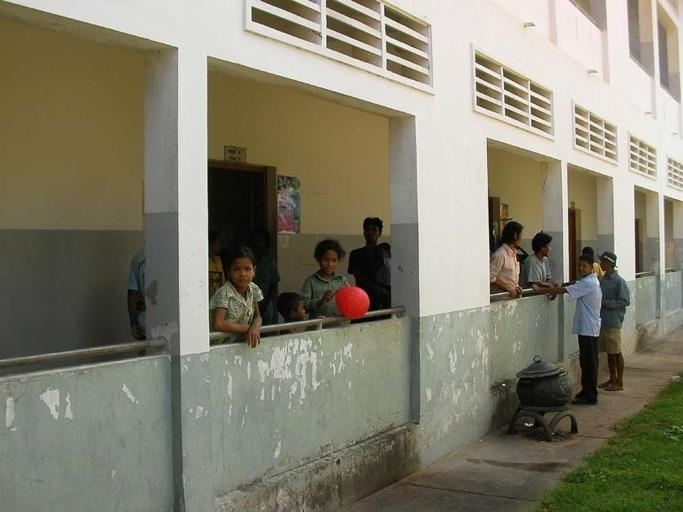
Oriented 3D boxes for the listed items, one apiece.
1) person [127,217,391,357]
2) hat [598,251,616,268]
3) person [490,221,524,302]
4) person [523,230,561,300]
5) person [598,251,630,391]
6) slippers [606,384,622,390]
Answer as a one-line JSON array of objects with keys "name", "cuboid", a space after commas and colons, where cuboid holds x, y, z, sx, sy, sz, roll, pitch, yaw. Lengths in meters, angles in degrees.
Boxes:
[{"name": "person", "cuboid": [-0.722, 0.315, 5.500, 0.443, 1.003, 2.170, -5, 1, 39]}, {"name": "hat", "cuboid": [4.409, 0.047, 10.020, 0.277, 0.163, 0.275, 22, 12, 7]}, {"name": "person", "cuboid": [2.217, 0.062, 8.351, 0.456, 0.969, 0.400, -2, -1, 3]}, {"name": "person", "cuboid": [2.946, 0.160, 9.174, 0.452, 0.981, 0.948, -2, 0, 19]}, {"name": "person", "cuboid": [4.432, 1.050, 9.983, 0.482, 2.318, 0.549, -2, -1, 24]}, {"name": "slippers", "cuboid": [4.374, 2.118, 9.809, 0.255, 0.127, 0.111, 1, 1, 9]}]
